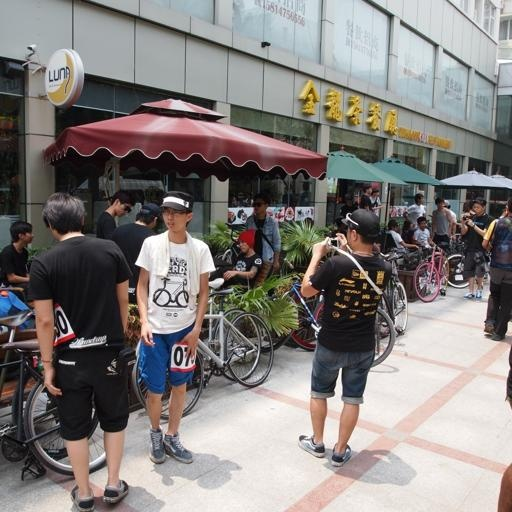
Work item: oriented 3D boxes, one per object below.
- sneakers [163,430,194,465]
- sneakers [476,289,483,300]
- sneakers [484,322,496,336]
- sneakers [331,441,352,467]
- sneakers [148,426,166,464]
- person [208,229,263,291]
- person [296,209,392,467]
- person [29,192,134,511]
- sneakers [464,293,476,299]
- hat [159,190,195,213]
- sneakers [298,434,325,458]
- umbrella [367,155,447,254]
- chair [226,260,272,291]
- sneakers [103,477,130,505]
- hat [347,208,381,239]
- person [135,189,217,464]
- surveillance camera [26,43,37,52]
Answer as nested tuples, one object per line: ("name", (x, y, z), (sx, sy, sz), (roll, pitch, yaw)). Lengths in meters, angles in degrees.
("sneakers", (-0.646, 1.476, 3.616), (0.116, 0.166, 0.338), (-3, 9, -44))
("sneakers", (5.156, 0.908, 10.750), (0.111, 0.152, 0.348), (-1, -1, 17))
("sneakers", (3.772, 1.205, 7.541), (0.155, 0.187, 0.194), (0, -4, -3))
("sneakers", (0.660, 1.557, 3.619), (0.082, 0.100, 0.226), (0, 8, 27))
("sneakers", (-0.753, 1.457, 3.525), (0.091, 0.119, 0.283), (-2, 39, -11))
("person", (-0.231, 0.022, 6.499), (0.710, 1.034, 0.718), (4, 4, -18))
("person", (0.647, 0.641, 3.466), (0.625, 1.970, 0.424), (3, 6, 14))
("person", (-1.057, 0.625, 2.832), (0.552, 1.987, 0.326), (0, 6, -17))
("sneakers", (4.921, 0.946, 10.730), (0.305, 0.129, 0.102), (4, -3, -34))
("hat", (-0.555, -0.387, 3.332), (0.220, 0.138, 0.217), (1, 6, -14))
("sneakers", (0.447, 1.539, 3.777), (0.090, 0.108, 0.243), (4, 8, -32))
("umbrella", (4.253, -1.463, 12.891), (2.090, 1.615, 2.148), (-9, 19, -38))
("chair", (-0.110, 0.269, 6.269), (0.394, 0.453, 0.346), (7, 0, -2))
("sneakers", (-0.895, 1.533, 2.998), (0.082, 0.087, 0.215), (0, 0, 9))
("hat", (0.770, -0.243, 3.390), (0.166, 0.138, 0.234), (1, 37, -26))
("person", (-0.591, 0.564, 3.422), (0.558, 2.048, 0.234), (0, 6, -16))
("surveillance camera", (-3.502, -3.256, 7.251), (0.109, 0.155, 0.149), (5, 43, -8))
